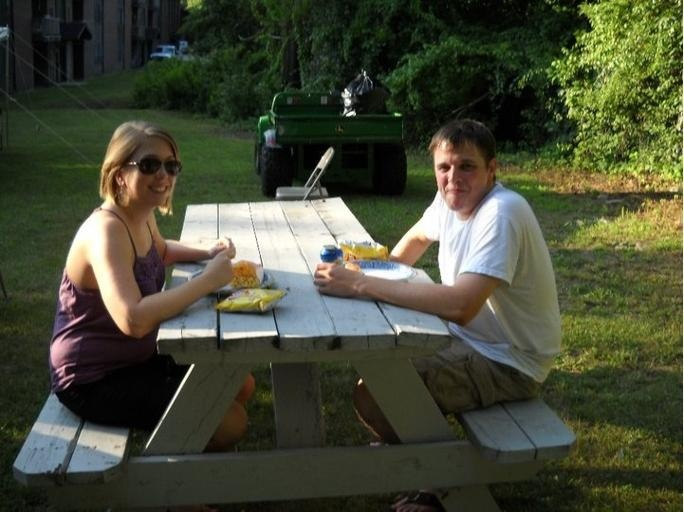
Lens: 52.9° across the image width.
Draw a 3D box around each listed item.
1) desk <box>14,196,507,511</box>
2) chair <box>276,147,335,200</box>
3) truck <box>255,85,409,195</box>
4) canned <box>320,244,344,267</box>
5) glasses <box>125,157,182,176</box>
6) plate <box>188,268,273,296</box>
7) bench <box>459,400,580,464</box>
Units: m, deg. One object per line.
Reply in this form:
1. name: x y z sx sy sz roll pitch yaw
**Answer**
1. desk: -0.353 0.668 3.689 1.545 0.913 1.828 -3 21 -7
2. chair: -0.399 -0.911 7.580 0.602 0.587 0.437 -3 16 -14
3. truck: -0.386 -1.782 11.320 1.573 1.325 2.830 -1 22 -12
4. canned: -0.060 -0.009 3.824 0.106 0.101 0.083 2 0 -33
5. glasses: -0.940 -0.461 3.515 0.296 0.107 0.109 -12 20 -39
6. plate: -0.527 0.146 3.584 0.299 0.088 0.200 -7 5 -14
7. bench: 0.859 0.862 3.426 0.387 0.150 0.295 -15 14 2
